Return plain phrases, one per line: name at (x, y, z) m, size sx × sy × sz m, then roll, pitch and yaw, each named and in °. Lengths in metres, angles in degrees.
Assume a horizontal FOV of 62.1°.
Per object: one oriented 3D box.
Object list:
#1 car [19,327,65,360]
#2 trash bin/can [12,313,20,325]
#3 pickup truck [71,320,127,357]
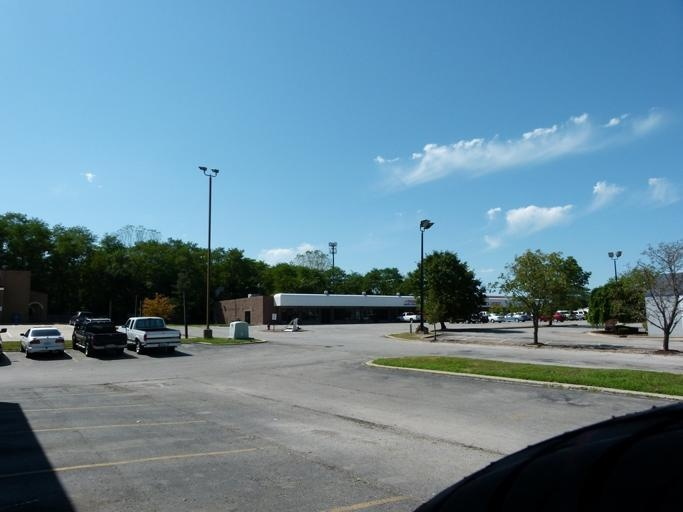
car at (-14.862, 4.211, 28.265) m, size 1.523 × 1.527 × 2.880 m, roll 4°, pitch -10°, yaw -34°
trash bin/can at (-39.373, 7.541, 68.641) m, size 0.848 × 1.579 × 0.856 m, roll -1°, pitch -11°, yaw 13°
pickup truck at (-12.521, 4.267, 29.265) m, size 1.603 × 1.415 × 3.811 m, roll 4°, pitch 0°, yaw -37°
